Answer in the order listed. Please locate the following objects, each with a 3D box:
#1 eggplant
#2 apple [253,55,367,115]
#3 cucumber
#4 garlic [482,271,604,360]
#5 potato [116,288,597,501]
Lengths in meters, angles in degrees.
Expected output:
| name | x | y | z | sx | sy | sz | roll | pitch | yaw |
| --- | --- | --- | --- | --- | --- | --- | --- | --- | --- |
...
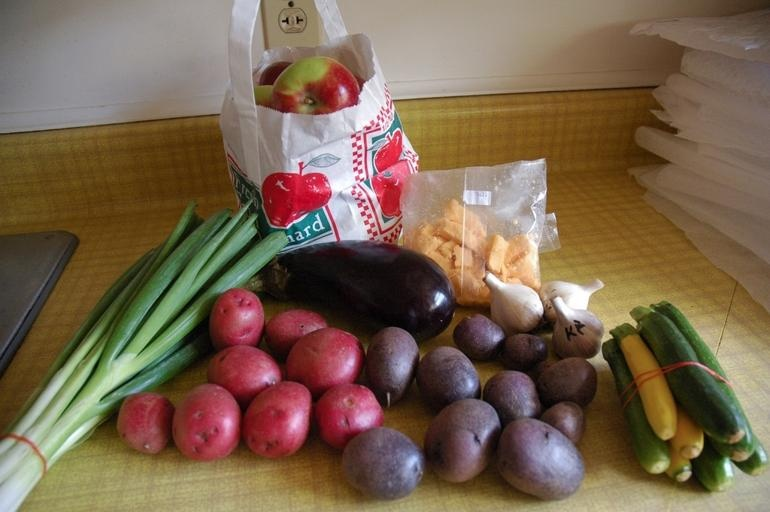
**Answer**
| name | x | y | z | sx | sy | sz | roll | pitch | yaw |
| --- | --- | --- | --- | --- | --- | --- | --- | --- | --- |
| eggplant | -0.051 | 0.051 | 1.035 | 0.296 | 0.160 | 0.124 | 7 | 81 | 22 |
| apple | -0.140 | -0.315 | 1.086 | 0.148 | 0.123 | 0.174 | 14 | 22 | 36 |
| cucumber | 0.429 | 0.219 | 0.860 | 0.140 | 0.108 | 0.282 | -17 | 43 | 9 |
| garlic | 0.272 | 0.092 | 1.036 | 0.200 | 0.160 | 0.153 | 5 | 15 | 0 |
| potato | -0.031 | 0.197 | 0.860 | 0.675 | 0.117 | 0.276 | 9 | 44 | 8 |
